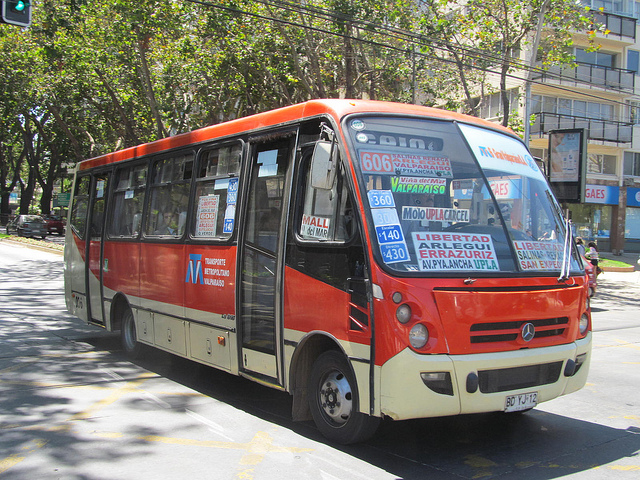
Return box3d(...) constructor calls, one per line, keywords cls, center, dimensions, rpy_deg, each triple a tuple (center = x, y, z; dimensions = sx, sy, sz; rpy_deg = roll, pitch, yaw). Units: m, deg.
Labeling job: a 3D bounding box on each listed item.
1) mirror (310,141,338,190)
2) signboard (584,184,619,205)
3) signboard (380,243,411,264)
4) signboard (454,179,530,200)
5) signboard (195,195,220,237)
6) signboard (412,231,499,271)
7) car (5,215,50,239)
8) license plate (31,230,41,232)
box3d(cls="mirror", center=(0.041, -0.737, 5.018), dimensions=(0.252, 0.476, 0.176), rpy_deg=(1, 2, 1))
box3d(cls="signboard", center=(21.313, -3.479, 39.161), dimensions=(3.042, 1.087, 2.058), rpy_deg=(1, -1, -32))
box3d(cls="signboard", center=(0.670, 0.125, 4.686), dimensions=(0.230, 0.137, 0.022), rpy_deg=(-3, -24, -13))
box3d(cls="signboard", center=(1.882, -0.524, 5.427), dimensions=(0.473, 0.098, 0.430), rpy_deg=(4, -5, -45))
box3d(cls="signboard", center=(-1.523, -0.317, 7.004), dimensions=(0.052, 0.573, 0.648), rpy_deg=(15, -4, -35))
box3d(cls="signboard", center=(1.273, 0.094, 4.854), dimensions=(0.906, 0.361, 0.016), rpy_deg=(1, -10, -18))
box3d(cls="car", center=(-24.993, -1.162, 43.787), dimensions=(5.941, 1.978, 1.821), rpy_deg=(2, 2, 43))
box3d(cls="license plate", center=(-23.181, -0.749, 41.903), dimensions=(0.648, 0.162, 0.113), rpy_deg=(0, 2, -18))
